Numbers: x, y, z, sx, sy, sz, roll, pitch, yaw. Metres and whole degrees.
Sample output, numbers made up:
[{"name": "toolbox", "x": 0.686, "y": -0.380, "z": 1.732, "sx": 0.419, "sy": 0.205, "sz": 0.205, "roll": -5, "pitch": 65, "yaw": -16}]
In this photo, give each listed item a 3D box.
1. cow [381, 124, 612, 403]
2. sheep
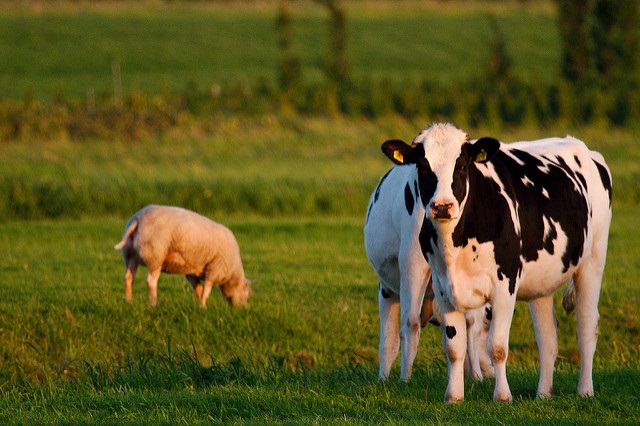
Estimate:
[{"name": "cow", "x": 2.988, "y": 0.965, "z": 25.661, "sx": 2.495, "sy": 4.626, "sz": 6.050, "roll": 2, "pitch": 0, "yaw": 37}, {"name": "sheep", "x": -2.699, "y": 1.012, "z": 29.790, "sx": 1.142, "sy": 2.061, "sz": 3.407, "roll": 5, "pitch": -6, "yaw": 43}]
